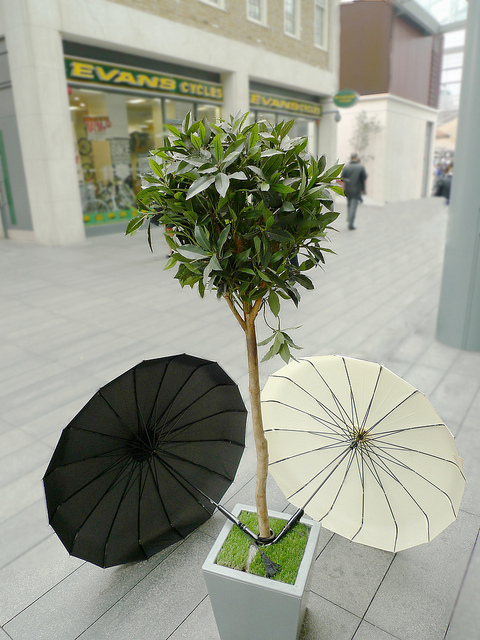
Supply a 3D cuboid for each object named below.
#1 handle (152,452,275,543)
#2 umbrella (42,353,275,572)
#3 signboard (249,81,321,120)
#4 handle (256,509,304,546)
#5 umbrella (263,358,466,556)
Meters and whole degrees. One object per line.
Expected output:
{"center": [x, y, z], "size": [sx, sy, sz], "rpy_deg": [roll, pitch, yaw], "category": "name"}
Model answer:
{"center": [-0.109, 0.704, 1.714], "size": [0.556, 0.040, 0.188], "rpy_deg": [29, -2, 28], "category": "handle"}
{"center": [-0.329, 0.603, 2.129], "size": [0.773, 0.716, 1.074], "rpy_deg": [-18, 36, 14], "category": "umbrella"}
{"center": [1.913, -8.504, 16.998], "size": [0.272, 1.189, 5.485], "rpy_deg": [12, 27, 35], "category": "signboard"}
{"center": [0.177, 0.760, 1.620], "size": [0.064, 0.027, 0.286], "rpy_deg": [8, 2, 29], "category": "handle"}
{"center": [0.554, 0.567, 2.079], "size": [0.841, 0.862, 0.534], "rpy_deg": [-34, -14, 23], "category": "umbrella"}
